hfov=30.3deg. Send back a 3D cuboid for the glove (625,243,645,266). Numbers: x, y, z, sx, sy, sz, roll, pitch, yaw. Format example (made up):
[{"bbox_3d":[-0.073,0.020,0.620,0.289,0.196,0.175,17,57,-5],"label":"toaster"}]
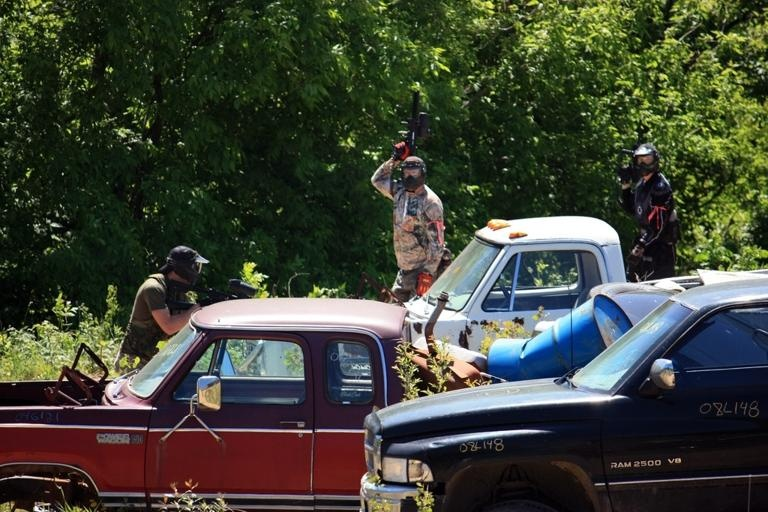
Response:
[{"bbox_3d":[4.318,-0.061,24.449,0.361,0.404,0.264,-2,24,-38],"label":"glove"}]

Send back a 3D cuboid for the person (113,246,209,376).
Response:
[{"bbox_3d":[-3.655,0.951,22.998,0.784,2.264,0.853,26,27,-18],"label":"person"}]

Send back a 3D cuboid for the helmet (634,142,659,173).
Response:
[{"bbox_3d":[4.639,-1.730,24.893,0.388,0.535,0.523,-6,-12,20],"label":"helmet"}]

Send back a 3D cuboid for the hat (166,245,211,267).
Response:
[{"bbox_3d":[-3.095,0.007,22.338,0.539,0.207,0.358,1,-3,-11],"label":"hat"}]

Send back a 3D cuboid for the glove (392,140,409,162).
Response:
[{"bbox_3d":[0.282,-1.887,25.148,0.251,0.356,0.125,-2,-1,-11],"label":"glove"}]

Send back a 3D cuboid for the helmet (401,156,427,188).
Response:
[{"bbox_3d":[0.519,-1.438,24.149,0.431,0.597,0.564,0,8,22],"label":"helmet"}]
